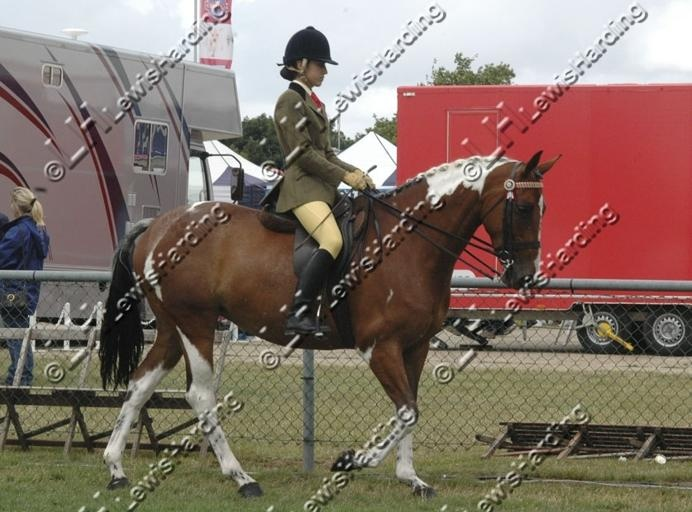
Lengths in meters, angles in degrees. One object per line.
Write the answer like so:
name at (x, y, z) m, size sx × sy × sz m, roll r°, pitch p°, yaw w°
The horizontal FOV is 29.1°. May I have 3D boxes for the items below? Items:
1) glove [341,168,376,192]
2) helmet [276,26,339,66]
glove at (0.147, -0.827, 14.438) m, size 0.267 × 0.081 × 0.212 m, roll 14°, pitch 17°, yaw -40°
helmet at (-0.385, -2.302, 14.686) m, size 0.595 × 0.486 × 0.500 m, roll 3°, pitch 1°, yaw 3°
